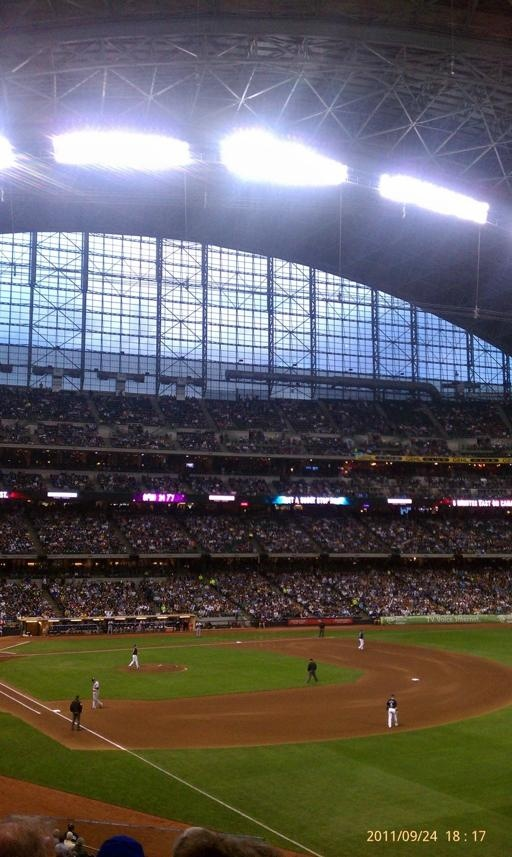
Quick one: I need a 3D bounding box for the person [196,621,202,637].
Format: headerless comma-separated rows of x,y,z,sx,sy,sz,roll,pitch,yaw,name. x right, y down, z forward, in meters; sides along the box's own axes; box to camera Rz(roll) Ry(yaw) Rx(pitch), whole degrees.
-3.863,13.009,71.866,0.455,0.767,0.418,0,-2,4,person
